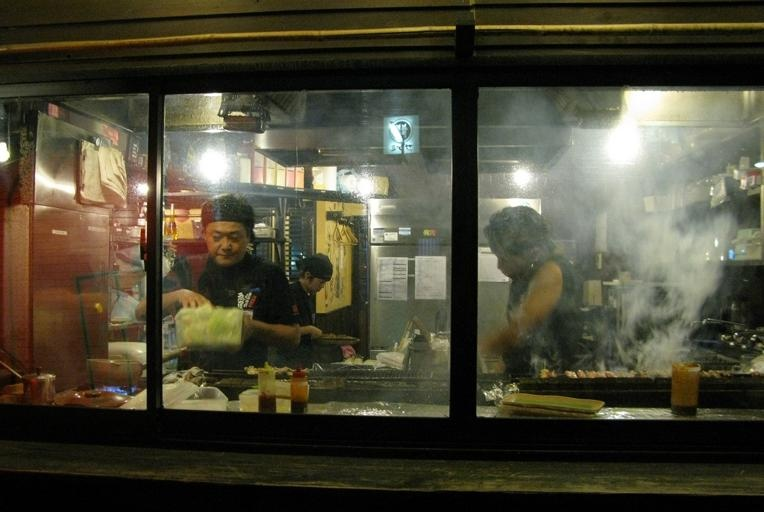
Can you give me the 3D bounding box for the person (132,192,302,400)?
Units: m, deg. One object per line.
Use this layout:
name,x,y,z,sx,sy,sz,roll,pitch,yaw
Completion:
person,-1.244,0.443,6.126,1.275,1.701,0.910,5,-4,-13

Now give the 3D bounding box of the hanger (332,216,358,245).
hanger,-0.380,-0.276,8.029,0.304,0.261,0.132,3,0,-40

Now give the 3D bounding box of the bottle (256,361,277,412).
bottle,-0.757,0.881,5.168,0.115,0.306,0.131,1,-1,-10

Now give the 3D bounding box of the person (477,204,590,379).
person,1.133,0.241,5.559,0.781,1.211,0.244,1,-1,14

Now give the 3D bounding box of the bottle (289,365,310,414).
bottle,-0.547,0.901,5.203,0.118,0.271,0.220,1,-1,-8

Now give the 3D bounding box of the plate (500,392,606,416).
plate,1.134,0.981,5.139,0.399,0.044,0.248,1,4,14

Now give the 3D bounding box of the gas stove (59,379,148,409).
gas stove,-1.996,0.984,5.476,0.570,0.087,0.788,1,0,-18

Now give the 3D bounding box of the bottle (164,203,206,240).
bottle,-1.792,-0.326,7.013,0.347,0.286,0.180,1,8,-6

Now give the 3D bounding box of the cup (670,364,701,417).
cup,2.013,0.883,5.120,0.163,0.334,0.108,1,-1,17
